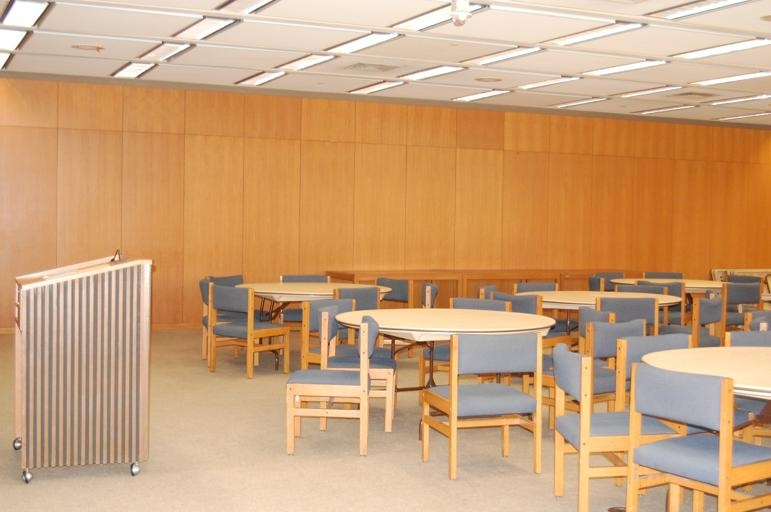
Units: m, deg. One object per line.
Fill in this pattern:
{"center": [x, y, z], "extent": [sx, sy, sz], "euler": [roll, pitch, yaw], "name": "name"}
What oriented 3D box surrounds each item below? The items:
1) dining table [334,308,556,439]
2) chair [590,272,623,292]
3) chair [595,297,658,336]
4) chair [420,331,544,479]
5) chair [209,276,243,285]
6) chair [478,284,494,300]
{"center": [0.538, 1.099, 6.031], "extent": [1.665, 0.434, 1.433], "euler": [0, -2, 5], "name": "dining table"}
{"center": [3.527, 0.389, 10.529], "extent": [0.413, 0.281, 0.451], "euler": [2, 3, 45], "name": "chair"}
{"center": [2.604, 0.662, 7.226], "extent": [0.517, 0.536, 0.545], "euler": [0, 2, 14], "name": "chair"}
{"center": [0.822, 1.213, 5.393], "extent": [1.023, 1.205, 0.480], "euler": [1, 7, 3], "name": "chair"}
{"center": [-2.357, 0.365, 9.793], "extent": [0.258, 0.125, 0.226], "euler": [1, 1, 10], "name": "chair"}
{"center": [1.246, 0.452, 8.131], "extent": [0.193, 0.205, 0.227], "euler": [0, -4, 5], "name": "chair"}
